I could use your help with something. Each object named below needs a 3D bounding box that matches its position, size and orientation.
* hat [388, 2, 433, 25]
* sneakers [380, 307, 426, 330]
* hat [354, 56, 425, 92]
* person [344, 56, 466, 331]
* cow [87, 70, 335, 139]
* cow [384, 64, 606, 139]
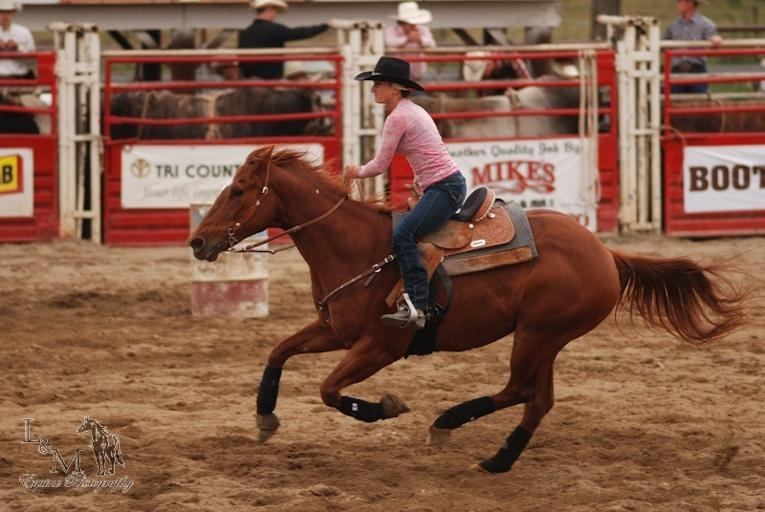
[{"bbox_3d":[0.407,-3.251,19.782,0.449,0.302,0.361,5,1,-1],"label":"hat"},{"bbox_3d":[0.202,0.646,14.546,0.460,0.188,0.167,7,-31,7],"label":"sneakers"},{"bbox_3d":[0.103,-1.803,14.838,0.533,0.171,0.404,14,-2,-23],"label":"hat"},{"bbox_3d":[0.271,-0.642,14.759,1.105,2.598,0.648,6,1,1],"label":"person"},{"bbox_3d":[-2.663,-1.879,19.856,4.868,0.773,1.561,1,4,-3],"label":"cow"},{"bbox_3d":[1.729,-1.837,20.067,3.310,0.841,1.524,-6,-20,-6],"label":"cow"}]
